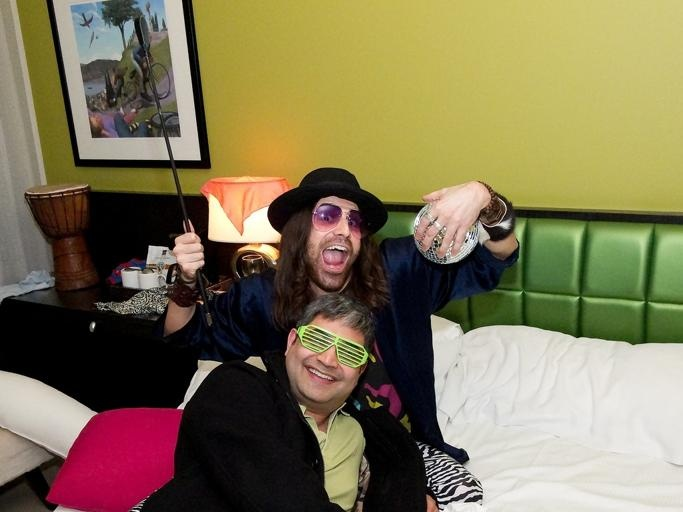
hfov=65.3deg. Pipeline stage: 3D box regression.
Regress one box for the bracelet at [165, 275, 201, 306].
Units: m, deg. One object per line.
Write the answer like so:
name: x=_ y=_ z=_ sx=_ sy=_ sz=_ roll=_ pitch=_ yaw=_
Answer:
bracelet: x=-0.601 y=0.140 z=2.008 sx=0.109 sy=0.104 sz=0.119 roll=6 pitch=17 yaw=-15

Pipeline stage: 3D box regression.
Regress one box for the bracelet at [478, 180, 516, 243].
bracelet: x=0.563 y=-0.153 z=1.911 sx=0.067 sy=0.190 sz=0.153 roll=8 pitch=51 yaw=51

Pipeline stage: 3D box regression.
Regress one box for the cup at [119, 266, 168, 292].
cup: x=-1.126 y=0.135 z=3.032 sx=0.220 sy=0.096 sz=0.134 roll=2 pitch=3 yaw=10

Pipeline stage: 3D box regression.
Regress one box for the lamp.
lamp: x=-0.436 y=-0.182 z=2.949 sx=0.481 sy=0.622 sz=0.481 roll=4 pitch=10 yaw=34

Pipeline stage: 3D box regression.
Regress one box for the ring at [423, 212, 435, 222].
ring: x=0.307 y=-0.128 z=1.858 sx=0.039 sy=0.039 sz=0.007 roll=6 pitch=10 yaw=35

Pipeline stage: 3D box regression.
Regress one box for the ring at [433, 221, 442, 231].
ring: x=0.330 y=-0.101 z=1.845 sx=0.006 sy=0.024 sz=0.024 roll=-32 pitch=10 yaw=-12

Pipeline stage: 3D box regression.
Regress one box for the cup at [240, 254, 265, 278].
cup: x=-0.454 y=0.043 z=2.776 sx=0.132 sy=0.131 sz=0.130 roll=-3 pitch=4 yaw=0
